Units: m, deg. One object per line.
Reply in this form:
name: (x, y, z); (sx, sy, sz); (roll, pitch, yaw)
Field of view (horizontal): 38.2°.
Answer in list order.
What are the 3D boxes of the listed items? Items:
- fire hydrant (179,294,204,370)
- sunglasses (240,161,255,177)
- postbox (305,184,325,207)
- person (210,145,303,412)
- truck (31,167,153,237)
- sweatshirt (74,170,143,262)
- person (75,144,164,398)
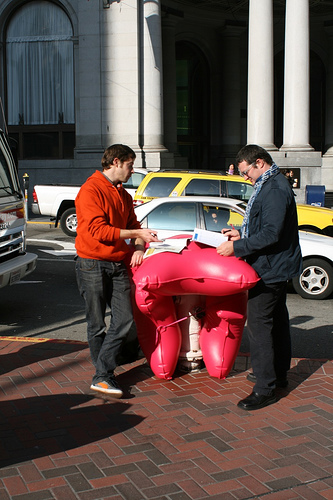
fire hydrant: (0.216, 0.725, 4.251); (0.212, 0.693, 0.252); (1, 3, 5)
sunglasses: (0.594, -0.594, 3.520); (0.088, 0.026, 0.084); (-37, -3, -22)
postbox: (4.580, -1.654, 14.819); (0.527, 0.673, 0.824); (2, 3, 14)
person: (0.750, 0.194, 3.653); (0.489, 1.910, 0.655); (3, 4, 32)
truck: (-2.214, -1.390, 14.482); (4.233, 1.643, 1.819); (-1, 6, 7)
sweatshirt: (-0.465, -0.269, 3.747); (0.473, 0.723, 0.518); (0, 3, -15)
person: (-0.428, 0.153, 3.784); (0.587, 1.918, 0.494); (-1, 4, -40)
